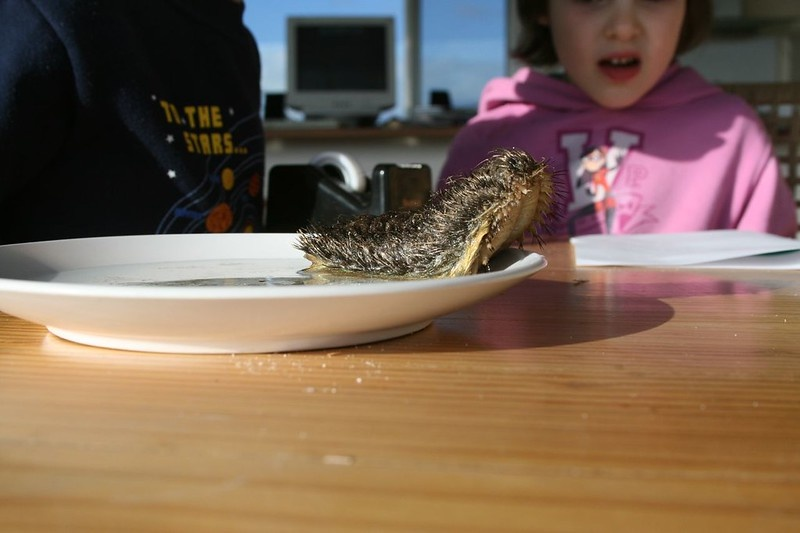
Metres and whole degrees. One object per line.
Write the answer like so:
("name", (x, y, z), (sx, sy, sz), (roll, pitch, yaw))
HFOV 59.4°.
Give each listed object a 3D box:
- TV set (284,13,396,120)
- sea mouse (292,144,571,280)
("TV set", (-0.281, -0.736, 2.606), (0.460, 0.348, 0.249), (-13, 23, -35))
("sea mouse", (0.014, -0.032, 0.482), (0.178, 0.063, 0.111), (-8, 25, 28))
